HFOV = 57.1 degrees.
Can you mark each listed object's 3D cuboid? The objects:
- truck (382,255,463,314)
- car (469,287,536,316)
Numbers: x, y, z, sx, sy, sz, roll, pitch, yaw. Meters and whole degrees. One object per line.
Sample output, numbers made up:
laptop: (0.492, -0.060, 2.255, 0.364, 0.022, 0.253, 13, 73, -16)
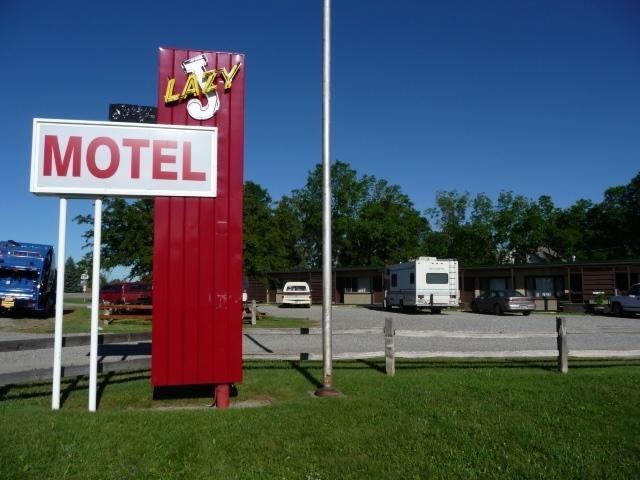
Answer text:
truck: (5.266, 2.382, 31.608, 2.157, 2.419, 4.419, 2, -4, -15)
car: (9.600, 3.309, 30.897, 1.320, 1.329, 3.572, 0, -2, -16)
